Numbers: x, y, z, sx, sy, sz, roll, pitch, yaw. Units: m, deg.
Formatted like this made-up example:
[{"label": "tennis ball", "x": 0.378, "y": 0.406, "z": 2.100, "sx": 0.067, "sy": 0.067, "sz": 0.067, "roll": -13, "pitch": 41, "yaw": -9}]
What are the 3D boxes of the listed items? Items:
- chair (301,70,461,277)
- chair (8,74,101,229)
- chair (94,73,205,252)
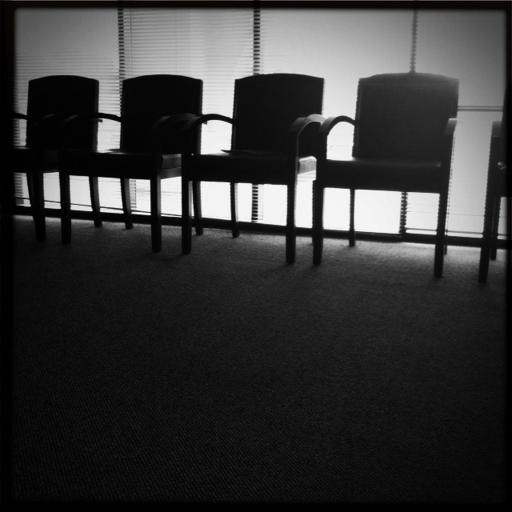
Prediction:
[{"label": "chair", "x": 0.618, "y": -0.442, "z": 2.549, "sx": 0.558, "sy": 1.106, "sz": 0.711, "roll": 6, "pitch": 9, "yaw": 14}, {"label": "chair", "x": -1.207, "y": -0.630, "z": 3.073, "sx": 0.516, "sy": 0.983, "sz": 0.773, "roll": -3, "pitch": 11, "yaw": -20}, {"label": "chair", "x": -0.626, "y": -0.533, "z": 2.861, "sx": 0.482, "sy": 1.093, "sz": 0.595, "roll": 0, "pitch": 5, "yaw": 11}]
